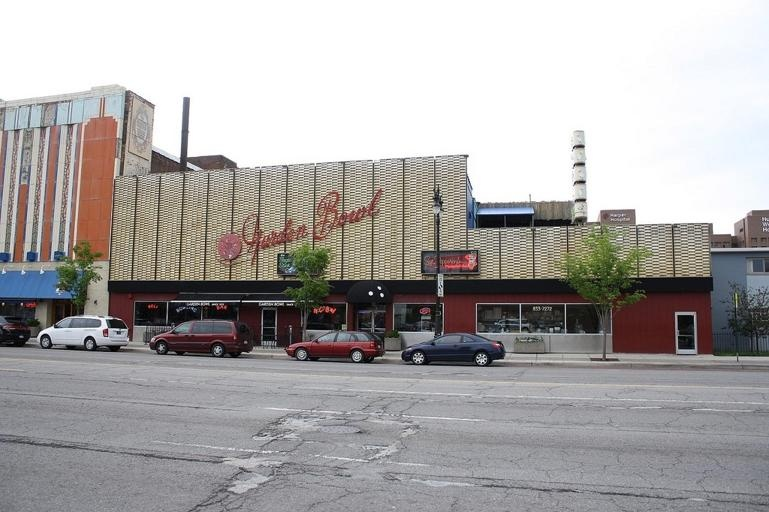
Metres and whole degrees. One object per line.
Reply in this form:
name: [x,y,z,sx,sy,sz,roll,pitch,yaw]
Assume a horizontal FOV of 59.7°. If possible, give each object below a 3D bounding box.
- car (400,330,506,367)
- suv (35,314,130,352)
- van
car: [3.195,4.292,30.689,4.344,1.174,1.725,1,-9,11]
suv: [-16.356,4.154,36.475,4.516,1.531,2.080,2,-4,12]
van: [-9.408,4.162,34.334,4.617,1.441,2.070,2,-6,10]
